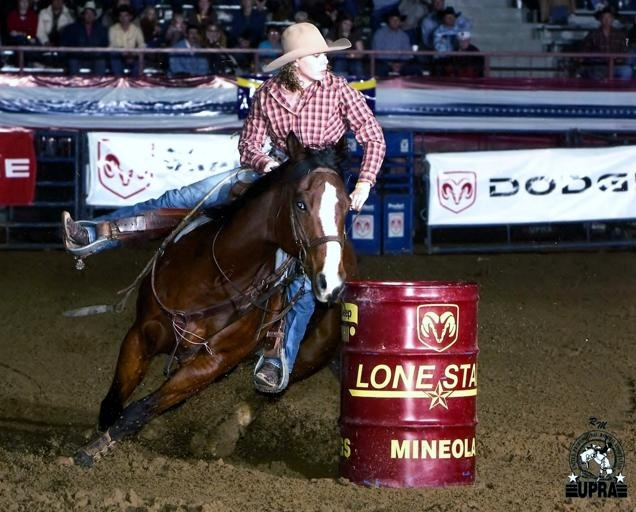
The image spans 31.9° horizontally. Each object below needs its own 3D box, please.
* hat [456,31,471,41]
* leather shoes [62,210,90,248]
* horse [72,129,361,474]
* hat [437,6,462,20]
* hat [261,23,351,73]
[{"bbox_3d":[2.157,-3.262,16.858,0.172,0.122,0.172,2,3,28],"label":"hat"},{"bbox_3d":[-1.979,-0.197,9.032,0.155,0.368,0.125,0,59,-1],"label":"leather shoes"},{"bbox_3d":[-0.713,0.353,8.525,2.018,2.550,0.888,4,14,15],"label":"horse"},{"bbox_3d":[1.935,-3.671,17.149,0.286,0.108,0.308,2,5,1],"label":"hat"},{"bbox_3d":[-0.107,-1.632,8.720,0.570,0.216,0.390,-16,14,8],"label":"hat"}]
